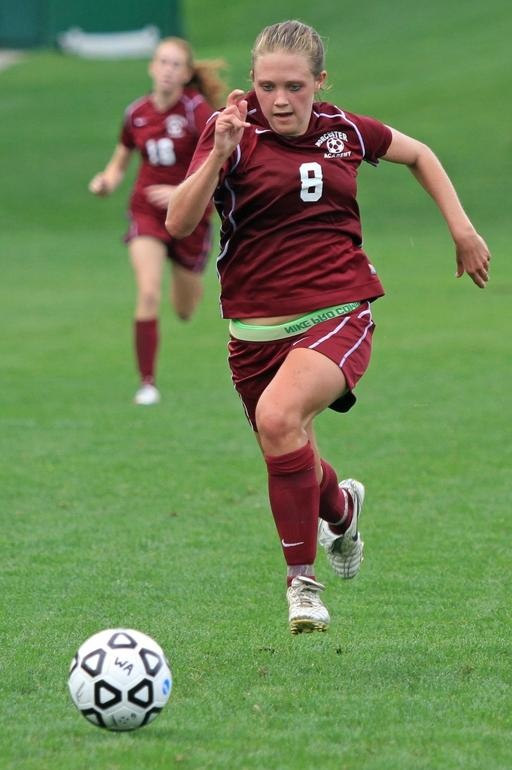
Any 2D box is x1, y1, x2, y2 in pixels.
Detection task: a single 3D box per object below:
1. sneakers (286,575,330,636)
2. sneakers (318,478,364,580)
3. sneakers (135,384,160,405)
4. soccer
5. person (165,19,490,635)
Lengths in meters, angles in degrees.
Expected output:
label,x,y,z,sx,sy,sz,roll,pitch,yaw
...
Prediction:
label,x,y,z,sx,sy,sz,roll,pitch,yaw
sneakers,0.121,0.578,2.242,0.081,0.092,0.198,-6,-5,0
sneakers,0.318,0.508,2.991,0.143,0.349,0.177,-4,15,20
sneakers,-0.645,0.062,5.117,0.144,0.082,0.126,-1,16,-2
soccer,-0.333,0.699,1.955,0.243,0.204,0.223,6,-24,-24
person,0.175,-0.175,2.518,0.849,1.777,0.618,-8,10,-44
